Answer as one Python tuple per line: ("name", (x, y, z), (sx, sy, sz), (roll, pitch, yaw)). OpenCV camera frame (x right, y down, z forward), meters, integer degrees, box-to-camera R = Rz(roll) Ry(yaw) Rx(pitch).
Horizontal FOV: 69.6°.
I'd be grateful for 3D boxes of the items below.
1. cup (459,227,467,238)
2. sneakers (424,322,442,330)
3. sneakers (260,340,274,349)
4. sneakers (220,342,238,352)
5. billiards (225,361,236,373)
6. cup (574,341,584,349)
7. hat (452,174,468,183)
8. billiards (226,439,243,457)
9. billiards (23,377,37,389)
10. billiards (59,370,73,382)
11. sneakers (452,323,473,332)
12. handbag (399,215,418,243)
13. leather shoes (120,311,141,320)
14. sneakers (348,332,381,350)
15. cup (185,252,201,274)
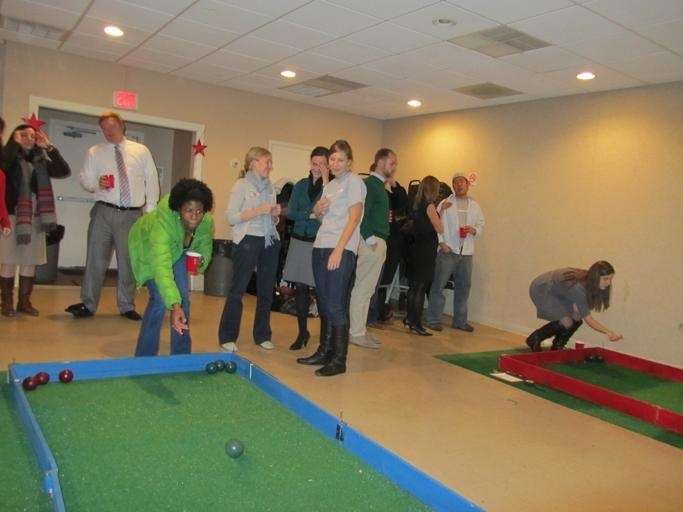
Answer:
("cup", (1.598, -0.312, 6.412), (0.115, 0.129, 0.114), (-2, 2, 0))
("sneakers", (1.188, 0.909, 6.307), (0.190, 0.081, 0.075), (-4, -5, 45))
("sneakers", (-0.722, 0.850, 4.733), (0.124, 0.048, 0.071), (3, 27, 26))
("sneakers", (-1.010, 0.828, 4.485), (0.135, 0.098, 0.246), (-1, -7, -35))
("billiards", (-0.781, 0.766, 3.440), (0.072, 0.070, 0.048), (22, 7, 7))
("cup", (2.647, 0.986, 5.457), (0.097, 0.081, 0.110), (-1, 1, -1))
("hat", (1.665, -1.065, 6.753), (0.164, 0.040, 0.164), (5, 0, -29))
("billiards", (-0.519, 0.926, 2.378), (0.079, 0.078, 0.043), (-28, -4, -17))
("billiards", (-1.864, 0.762, 2.941), (0.068, 0.080, 0.069), (9, -26, -34))
("billiards", (-1.723, 0.754, 3.075), (0.072, 0.072, 0.068), (6, -2, -32))
("sneakers", (1.612, 0.945, 6.513), (0.277, 0.116, 0.100), (1, 0, 23))
("handbag", (0.849, -0.333, 6.020), (0.105, 0.274, 0.224), (9, -3, -16))
("leather shoes", (-2.300, 0.655, 5.390), (0.251, 0.098, 0.096), (-1, 3, 19))
("sneakers", (0.251, 0.884, 5.119), (0.303, 0.206, 0.129), (1, -1, 10))
("cup", (-1.096, 0.052, 3.652), (0.120, 0.162, 0.182), (5, 4, -16))
